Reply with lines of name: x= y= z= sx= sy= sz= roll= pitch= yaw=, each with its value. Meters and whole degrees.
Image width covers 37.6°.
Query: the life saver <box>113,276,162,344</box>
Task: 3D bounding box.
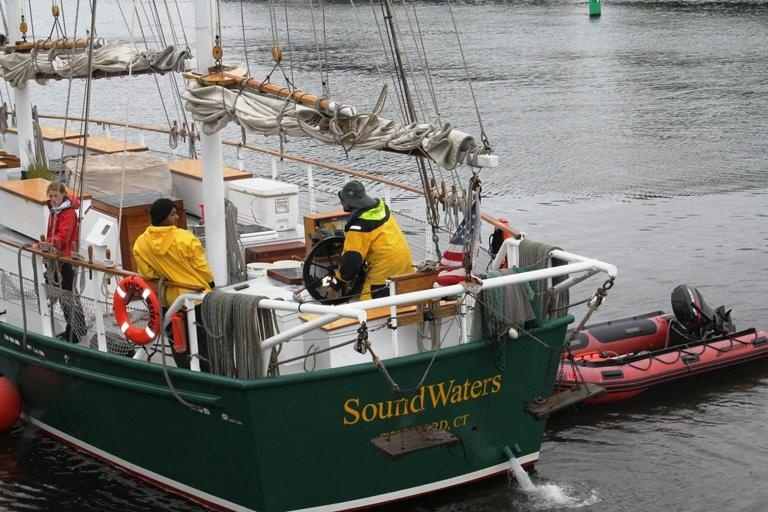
life saver: x=-3.209 y=0.751 z=14.975 sx=0.805 sy=0.992 sz=0.373 roll=13 pitch=25 yaw=39

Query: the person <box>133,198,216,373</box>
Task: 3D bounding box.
person: x=-2.743 y=0.497 z=15.563 sx=1.008 sy=2.535 sz=1.022 roll=-7 pitch=3 yaw=33

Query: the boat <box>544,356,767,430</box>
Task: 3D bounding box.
boat: x=4.520 y=2.228 z=18.534 sx=3.508 sy=1.186 sz=2.975 roll=0 pitch=1 yaw=15

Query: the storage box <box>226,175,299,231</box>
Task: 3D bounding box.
storage box: x=-2.022 y=-0.910 z=18.636 sx=0.957 sy=0.603 sz=1.356 roll=-13 pitch=20 yaw=-35

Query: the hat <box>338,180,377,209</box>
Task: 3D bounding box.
hat: x=-0.430 y=-0.886 z=15.836 sx=0.422 sy=0.201 sz=0.473 roll=-11 pitch=28 yaw=-18
